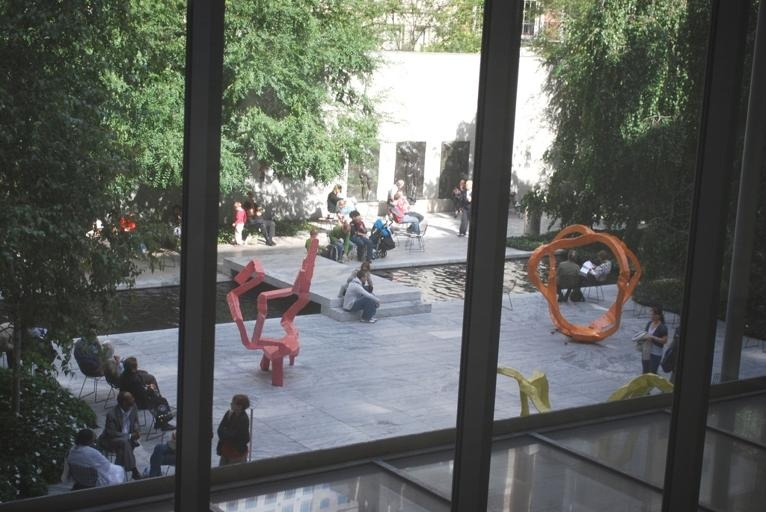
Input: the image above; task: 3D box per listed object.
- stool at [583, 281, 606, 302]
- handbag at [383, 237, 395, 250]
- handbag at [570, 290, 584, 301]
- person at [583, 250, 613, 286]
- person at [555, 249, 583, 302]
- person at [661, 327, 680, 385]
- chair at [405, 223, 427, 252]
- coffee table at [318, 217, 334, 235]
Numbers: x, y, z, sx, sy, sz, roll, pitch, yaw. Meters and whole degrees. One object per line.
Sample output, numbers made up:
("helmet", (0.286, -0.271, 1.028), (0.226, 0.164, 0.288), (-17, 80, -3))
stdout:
("stool", (6.530, 1.130, 23.453), (0.461, 0.513, 1.004), (6, 8, 40))
("handbag", (0.162, -0.386, 23.860), (0.339, 0.345, 0.596), (-7, -6, -3))
("handbag", (5.887, 1.212, 23.250), (0.330, 0.345, 0.350), (0, 49, -2))
("person", (6.715, 0.368, 23.828), (1.339, 1.012, 0.528), (-5, 9, -44))
("person", (5.588, 0.581, 23.068), (0.697, 1.682, 2.863), (2, 6, 14))
("person", (7.083, 2.488, 18.989), (0.327, 1.098, 2.096), (3, 7, 20))
("chair", (1.042, -0.496, 24.008), (0.596, 0.914, 0.613), (0, 9, -8))
("coffee table", (-1.837, -1.068, 24.910), (0.608, 0.665, 0.647), (0, 18, -1))
